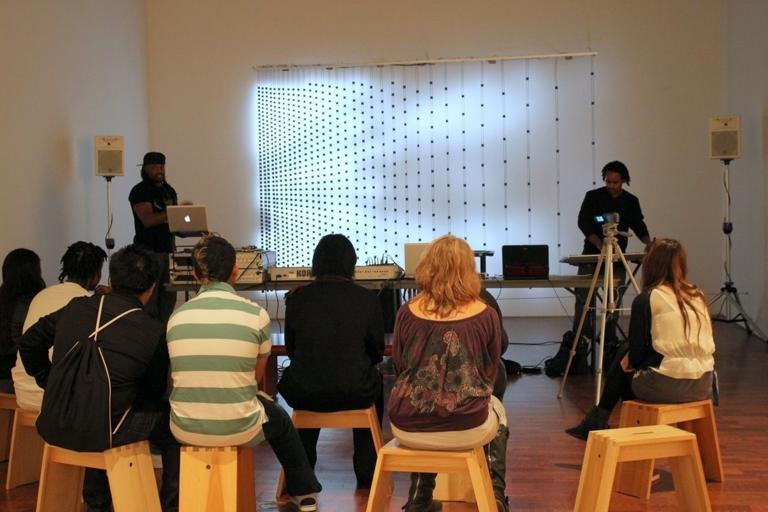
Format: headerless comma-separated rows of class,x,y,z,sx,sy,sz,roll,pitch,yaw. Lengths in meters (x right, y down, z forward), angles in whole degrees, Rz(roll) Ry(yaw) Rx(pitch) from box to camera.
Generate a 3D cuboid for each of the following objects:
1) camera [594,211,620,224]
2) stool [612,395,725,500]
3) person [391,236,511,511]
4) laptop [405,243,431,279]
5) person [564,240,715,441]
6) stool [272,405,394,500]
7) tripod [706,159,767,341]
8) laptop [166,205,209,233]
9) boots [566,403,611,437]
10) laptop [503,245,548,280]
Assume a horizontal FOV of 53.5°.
camera,1.868,-0.312,6.365,0.164,0.098,0.248,-1,2,-7
stool,2.001,1.310,5.367,0.651,0.629,0.288,-4,4,-30
person,0.414,0.789,4.835,0.776,1.830,0.439,-1,6,1
laptop,0.284,0.009,6.524,0.219,0.360,0.344,0,1,7
person,1.899,0.592,5.404,0.836,1.405,0.378,2,7,26
stool,-0.331,1.446,5.234,0.743,0.673,0.592,-1,-8,2
tripod,4.266,-0.182,9.227,0.482,1.982,1.436,1,6,14
laptop,-1.749,-0.323,6.755,0.335,0.245,0.199,-1,6,-4
boots,1.543,1.232,5.796,0.399,0.322,0.176,0,2,30
laptop,1.288,0.065,6.806,0.385,0.315,0.282,0,10,1
